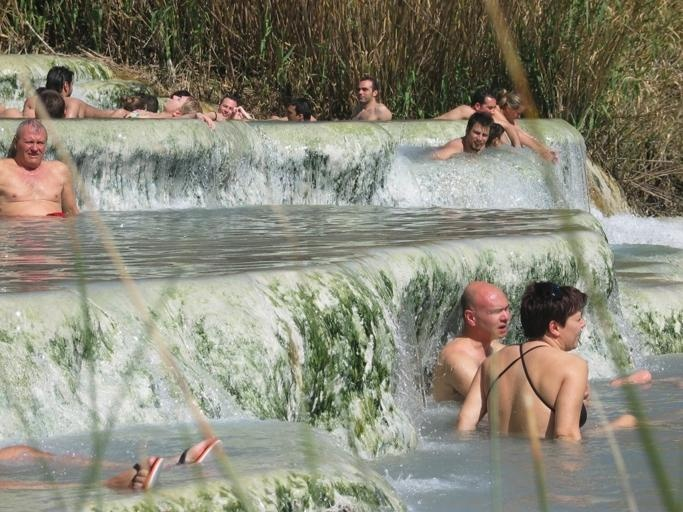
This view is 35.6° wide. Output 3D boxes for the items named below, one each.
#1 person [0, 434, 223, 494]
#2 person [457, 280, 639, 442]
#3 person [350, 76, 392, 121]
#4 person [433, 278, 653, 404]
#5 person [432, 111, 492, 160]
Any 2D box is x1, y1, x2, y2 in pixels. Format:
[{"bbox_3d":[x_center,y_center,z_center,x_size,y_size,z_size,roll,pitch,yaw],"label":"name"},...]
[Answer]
[{"bbox_3d":[-0.959,0.881,4.474,0.668,0.126,0.420,-3,-3,7],"label":"person"},{"bbox_3d":[1.297,0.706,6.969,1.348,1.190,0.704,0,18,30],"label":"person"},{"bbox_3d":[0.391,-2.033,13.722,0.364,0.568,0.857,-5,7,-10],"label":"person"},{"bbox_3d":[1.232,0.668,6.459,0.988,1.082,0.809,6,7,35],"label":"person"},{"bbox_3d":[1.317,-1.311,11.625,0.645,0.465,0.394,-4,6,7],"label":"person"}]
